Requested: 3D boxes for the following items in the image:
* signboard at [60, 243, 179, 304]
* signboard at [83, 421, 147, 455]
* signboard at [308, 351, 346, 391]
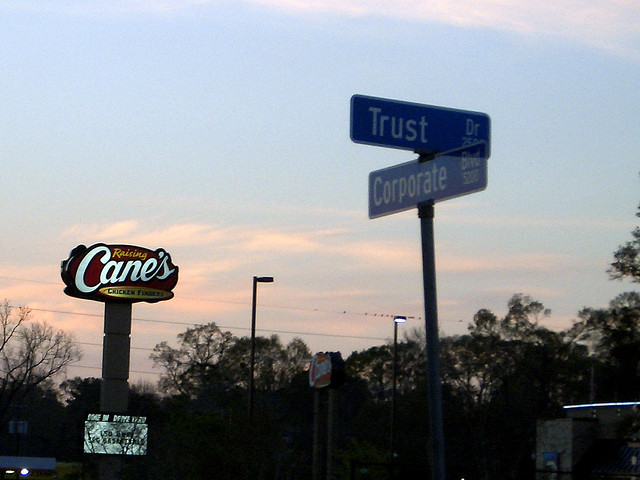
[{"bbox_3d":[-15.640,2.485,117.431,10.240,4.641,1.087,4,5,-37],"label":"signboard"},{"bbox_3d":[-15.989,15.230,116.939,4.646,2.506,1.256,2,-13,-13],"label":"signboard"},{"bbox_3d":[0.285,8.313,97.098,0.997,2.445,2.896,12,-17,-26],"label":"signboard"}]
